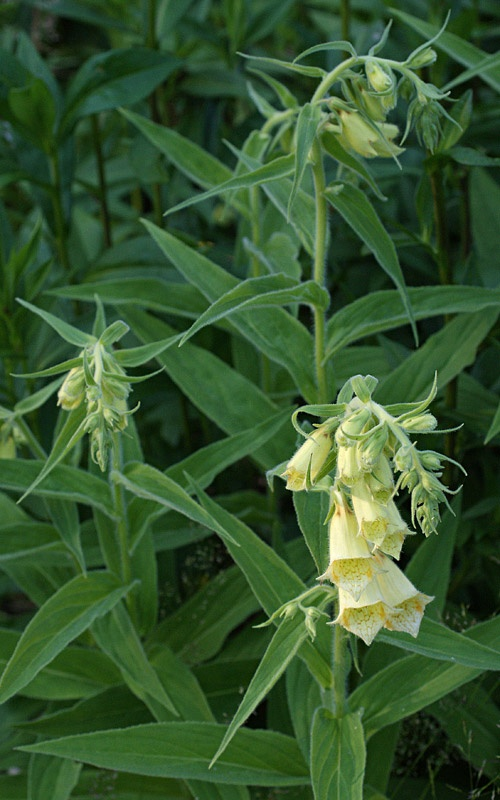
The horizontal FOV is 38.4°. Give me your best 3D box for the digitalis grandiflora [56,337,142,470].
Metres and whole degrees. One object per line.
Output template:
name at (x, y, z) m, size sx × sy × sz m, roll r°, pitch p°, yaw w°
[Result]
digitalis grandiflora at (-0.111, -0.008, 0.592) m, size 0.061 × 0.058 × 0.123 m, roll 24°, pitch 44°, yaw -28°
